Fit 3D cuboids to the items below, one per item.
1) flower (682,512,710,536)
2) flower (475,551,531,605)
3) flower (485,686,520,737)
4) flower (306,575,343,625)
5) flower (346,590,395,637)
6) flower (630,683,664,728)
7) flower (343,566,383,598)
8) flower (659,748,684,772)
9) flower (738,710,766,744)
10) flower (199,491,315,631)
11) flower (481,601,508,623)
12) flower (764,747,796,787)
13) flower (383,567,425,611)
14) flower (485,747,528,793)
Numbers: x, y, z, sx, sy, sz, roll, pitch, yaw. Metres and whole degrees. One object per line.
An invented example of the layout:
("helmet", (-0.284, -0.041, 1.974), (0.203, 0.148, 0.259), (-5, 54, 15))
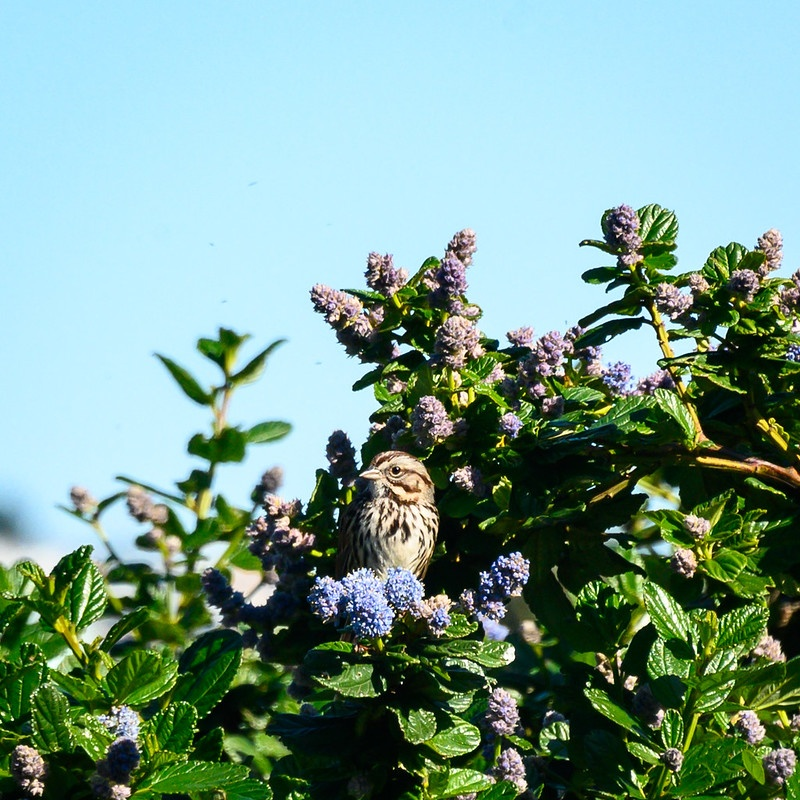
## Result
("flower", (0.848, 0.360, 5.420), (0.060, 0.037, 0.060), (26, -14, 17))
("flower", (0.291, 0.475, 5.222), (0.098, 0.165, 0.107), (17, -72, 19))
("flower", (0.312, 0.908, 5.501), (0.114, 0.112, 0.130), (-28, -2, -15))
("flower", (-0.192, 0.525, 5.043), (0.120, 0.139, 0.117), (-1, -16, 0))
("flower", (-0.081, 0.565, 5.014), (0.116, 0.129, 0.120), (0, -7, -2))
("flower", (0.707, 0.872, 5.412), (0.033, 0.112, 0.098), (-5, 1, -40))
("flower", (-0.099, 0.477, 4.983), (0.073, 0.070, 0.080), (2, -9, -4))
("flower", (0.727, 0.961, 5.045), (0.049, 0.052, 0.059), (-19, -89, 26))
("flower", (0.987, 0.902, 5.273), (0.047, 0.079, 0.099), (-31, -86, 31))
("flower", (-0.425, 0.519, 5.850), (0.305, 0.344, 0.316), (-22, -51, 29))
("flower", (0.255, 0.580, 5.237), (0.059, 0.051, 0.060), (3, -48, -2))
("flower", (1.041, 1.000, 5.173), (0.089, 0.064, 0.095), (-2, -83, 2))
("flower", (0.015, 0.502, 5.084), (0.100, 0.106, 0.097), (19, -81, -2))
("flower", (0.302, 1.053, 5.406), (0.114, 0.175, 0.120), (-1, -24, 0))
